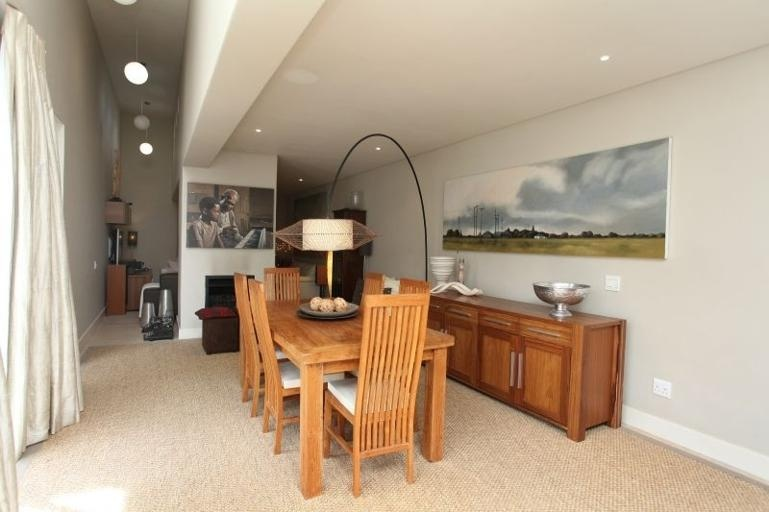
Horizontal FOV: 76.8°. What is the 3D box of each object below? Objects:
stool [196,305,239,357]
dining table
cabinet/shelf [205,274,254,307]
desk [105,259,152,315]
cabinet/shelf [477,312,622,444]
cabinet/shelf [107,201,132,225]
[{"bbox_3d":[-2.455,1.058,7.130,0.553,0.556,0.772,2,-3,-26],"label":"stool"},{"bbox_3d":[-0.266,1.031,4.654,1.358,1.134,1.795,1,-1,-23],"label":"dining table"},{"bbox_3d":[-2.191,0.463,6.721,0.500,0.489,0.178,2,-2,-31],"label":"cabinet/shelf"},{"bbox_3d":[-5.197,0.545,9.836,0.796,1.021,1.478,0,2,-22],"label":"desk"},{"bbox_3d":[1.777,1.107,5.496,1.018,1.480,1.869,1,0,-29],"label":"cabinet/shelf"},{"bbox_3d":[-5.052,-0.822,9.214,0.337,0.415,0.628,0,0,-17],"label":"cabinet/shelf"}]
